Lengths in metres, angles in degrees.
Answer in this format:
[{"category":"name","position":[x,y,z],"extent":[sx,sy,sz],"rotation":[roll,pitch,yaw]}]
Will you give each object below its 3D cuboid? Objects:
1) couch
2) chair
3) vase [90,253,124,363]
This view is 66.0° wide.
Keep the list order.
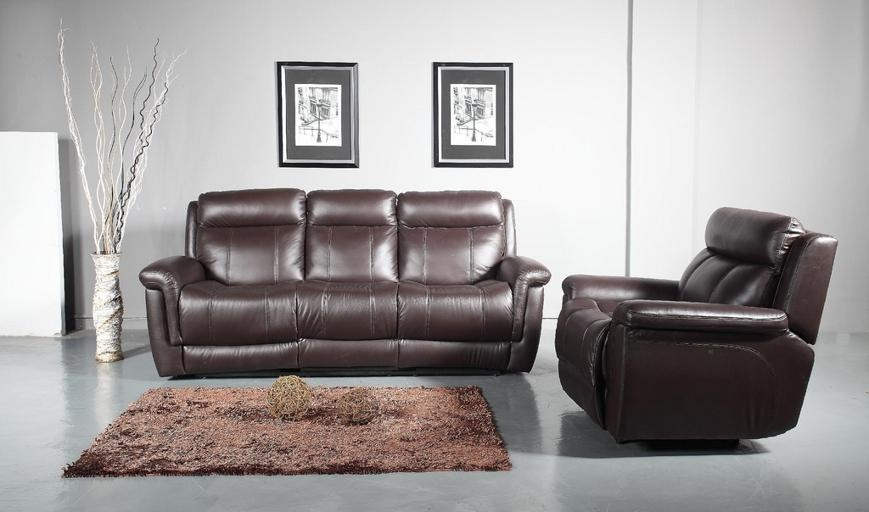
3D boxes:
[{"category":"couch","position":[-0.759,0.191,6.120],"extent":[3.386,1.303,1.340],"rotation":[0,18,-5]},{"category":"chair","position":[1.886,0.452,5.235],"extent":[1.924,1.415,1.903],"rotation":[0,8,19]},{"category":"vase","position":[-2.997,0.456,6.117],"extent":[0.285,0.939,0.489],"rotation":[-6,14,-22]}]
